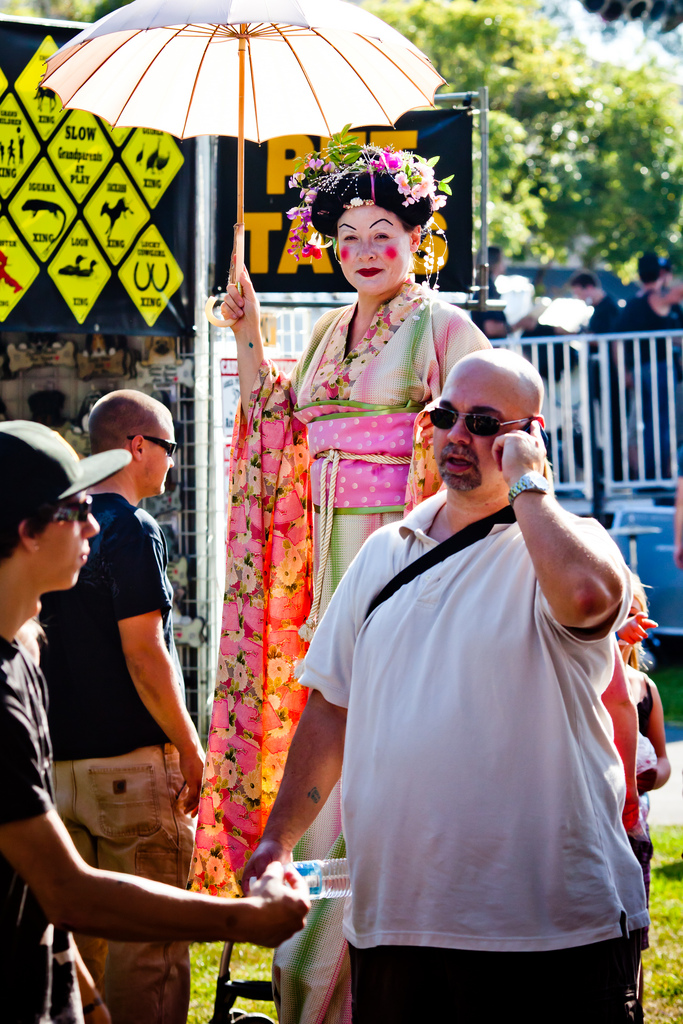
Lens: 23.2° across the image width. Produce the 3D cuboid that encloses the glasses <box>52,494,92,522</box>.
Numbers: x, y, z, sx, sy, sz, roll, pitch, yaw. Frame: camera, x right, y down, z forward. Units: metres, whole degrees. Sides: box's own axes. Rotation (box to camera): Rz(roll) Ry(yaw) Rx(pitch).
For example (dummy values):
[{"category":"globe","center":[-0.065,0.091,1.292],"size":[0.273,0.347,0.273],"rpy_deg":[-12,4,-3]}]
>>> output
[{"category":"glasses","center":[-0.454,-0.012,2.821],"size":[0.037,0.045,0.012],"rpy_deg":[0,-4,-14]}]

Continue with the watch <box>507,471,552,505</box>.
[{"category":"watch","center":[0.338,-0.056,3.010],"size":[0.063,0.050,0.076],"rpy_deg":[8,-40,-2]}]

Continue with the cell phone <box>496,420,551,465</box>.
[{"category":"cell phone","center":[0.368,-0.149,3.192],"size":[0.023,0.078,0.067],"rpy_deg":[-24,26,-34]}]
